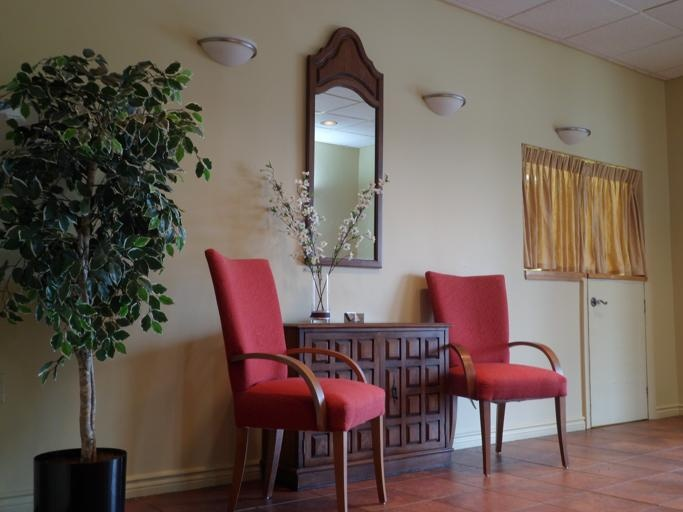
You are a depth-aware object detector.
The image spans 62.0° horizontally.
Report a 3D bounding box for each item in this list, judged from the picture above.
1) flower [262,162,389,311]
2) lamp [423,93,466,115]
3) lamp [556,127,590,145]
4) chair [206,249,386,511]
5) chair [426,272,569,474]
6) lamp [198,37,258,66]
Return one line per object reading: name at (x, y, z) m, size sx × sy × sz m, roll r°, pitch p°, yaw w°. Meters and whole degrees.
flower at (-0.156, -0.141, 4.040) m, size 1.006 × 1.215 × 0.326 m, roll 2°, pitch -1°, yaw -31°
lamp at (0.822, -1.230, 4.565) m, size 0.213 × 0.087 × 0.209 m, roll -1°, pitch -4°, yaw 9°
lamp at (2.179, -1.145, 5.394) m, size 0.187 × 0.079 × 0.200 m, roll 1°, pitch -4°, yaw 22°
chair at (-0.251, 0.699, 3.227) m, size 0.904 × 1.444 × 0.559 m, roll 0°, pitch -3°, yaw 14°
chair at (1.117, 0.809, 4.199) m, size 0.805 × 1.391 × 0.774 m, roll 2°, pitch -4°, yaw -29°
lamp at (-0.730, -1.327, 3.673) m, size 0.221 × 0.094 × 0.202 m, roll 1°, pitch -6°, yaw -1°
